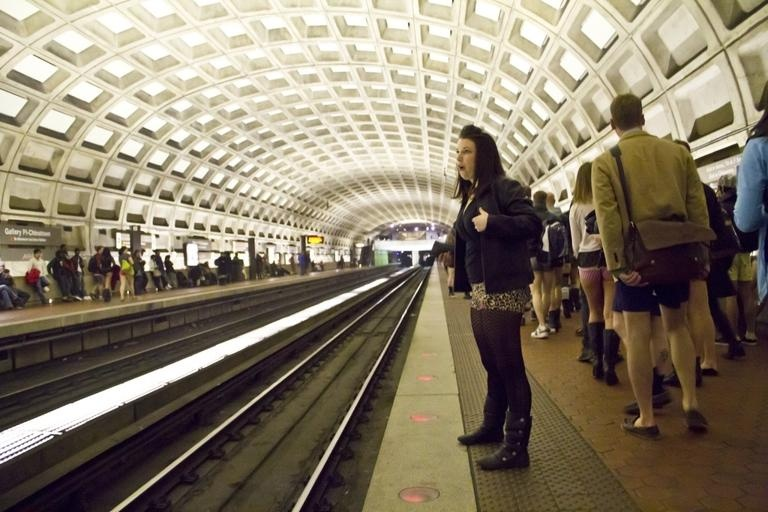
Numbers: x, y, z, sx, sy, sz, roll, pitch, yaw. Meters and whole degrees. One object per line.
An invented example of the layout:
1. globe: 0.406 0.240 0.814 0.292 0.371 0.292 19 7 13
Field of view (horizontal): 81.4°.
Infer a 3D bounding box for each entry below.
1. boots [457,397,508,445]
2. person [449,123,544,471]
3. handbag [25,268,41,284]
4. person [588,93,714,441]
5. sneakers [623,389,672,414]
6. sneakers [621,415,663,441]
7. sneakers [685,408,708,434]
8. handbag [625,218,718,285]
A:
1. boots: 1.126 1.938 5.381 0.707 0.714 0.311 1 -2 7
2. person: 1.194 0.394 4.998 0.920 3.713 0.947 -10 10 -18
3. handbag: -12.949 0.712 16.578 0.502 0.404 0.345 -13 11 -30
4. person: 3.072 0.089 5.189 1.170 3.907 0.708 -8 9 -3
5. sneakers: 3.294 1.844 5.682 0.675 0.300 0.255 -6 -4 8
6. sneakers: 2.970 1.981 5.239 0.190 0.133 0.348 3 -2 -37
7. sneakers: 3.581 1.890 5.185 0.197 0.309 0.298 -19 -34 41
8. handbag: 3.185 -0.083 5.013 0.845 0.633 0.441 -2 1 -1
